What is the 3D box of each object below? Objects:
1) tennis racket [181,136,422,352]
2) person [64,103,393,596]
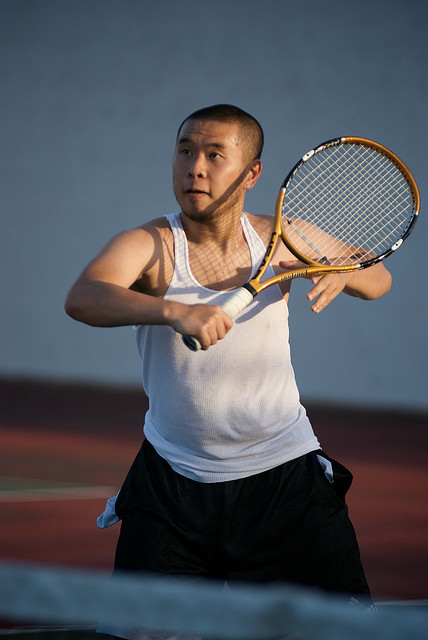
[{"bbox_3d":[0.302,-0.263,2.225,1.164,0.435,0.084,-34,-15,-33],"label":"tennis racket"},{"bbox_3d":[0.071,0.053,1.806,0.839,1.158,0.361,10,-7,-32],"label":"person"}]
